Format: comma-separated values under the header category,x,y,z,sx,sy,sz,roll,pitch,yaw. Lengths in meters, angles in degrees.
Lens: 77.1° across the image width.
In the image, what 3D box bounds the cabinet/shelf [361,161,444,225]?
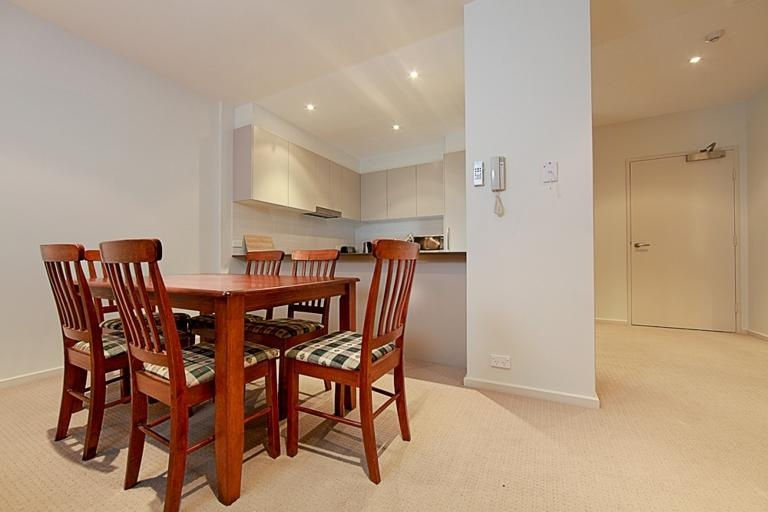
category,x,y,z,sx,sy,sz,roll,pitch,yaw
cabinet/shelf,0.325,-0.966,7.395,1.066,0.613,0.312,-1,-4,30

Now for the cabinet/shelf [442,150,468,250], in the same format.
category,x,y,z,sx,sy,sz,roll,pitch,yaw
cabinet/shelf,0.988,-0.772,6.796,0.435,1.371,0.158,1,4,39

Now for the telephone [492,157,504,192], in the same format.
category,x,y,z,sx,sy,sz,roll,pitch,yaw
telephone,1.068,-0.766,4.483,0.106,0.299,0.140,-8,10,-33
